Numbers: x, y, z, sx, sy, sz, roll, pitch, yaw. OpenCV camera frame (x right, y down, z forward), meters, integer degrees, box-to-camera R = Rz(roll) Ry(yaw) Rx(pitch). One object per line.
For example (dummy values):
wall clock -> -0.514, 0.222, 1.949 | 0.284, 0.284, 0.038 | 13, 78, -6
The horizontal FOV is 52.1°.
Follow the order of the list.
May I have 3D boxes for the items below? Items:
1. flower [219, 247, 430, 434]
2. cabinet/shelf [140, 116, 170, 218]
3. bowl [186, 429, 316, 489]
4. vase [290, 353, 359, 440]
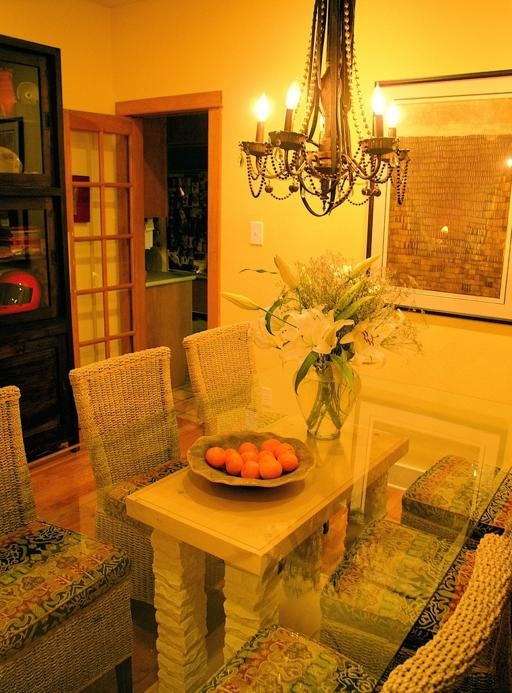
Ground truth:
flower -> 0.216, -0.076, 1.567 | 0.511, 0.523, 0.460 | -13, 23, -31
cabinet/shelf -> -0.802, -1.375, 4.061 | 0.151, 0.730, 0.381 | 4, 18, 24
bowl -> -0.025, 0.266, 1.238 | 0.168, 0.041, 0.163 | 2, 17, -1
vase -> 0.192, 0.139, 1.440 | 0.134, 0.216, 0.153 | 14, 26, 22
